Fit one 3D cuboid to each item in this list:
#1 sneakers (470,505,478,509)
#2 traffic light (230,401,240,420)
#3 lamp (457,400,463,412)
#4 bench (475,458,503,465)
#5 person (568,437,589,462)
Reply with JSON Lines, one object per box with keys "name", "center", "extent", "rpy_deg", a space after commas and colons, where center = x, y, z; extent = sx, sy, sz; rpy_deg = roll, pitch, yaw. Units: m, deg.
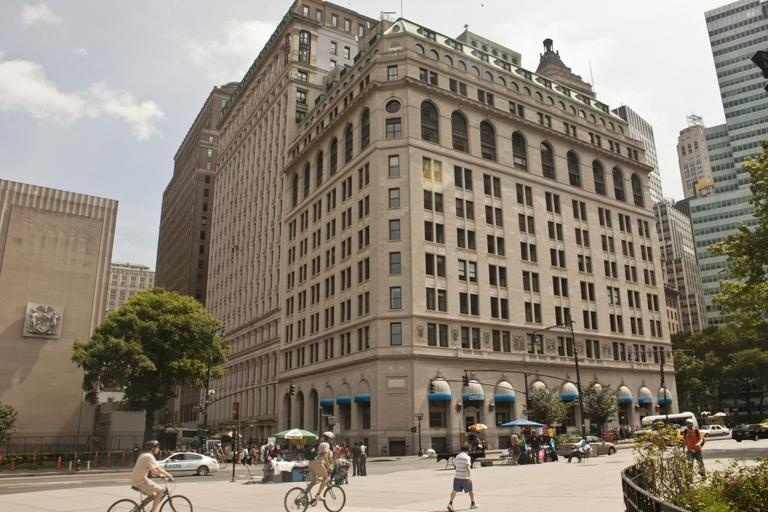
{"name": "sneakers", "center": [5.553, 15.659, 40.586], "extent": [0.436, 0.281, 0.178], "rpy_deg": [-1, -6, -34]}
{"name": "traffic light", "center": [-14.172, 14.566, 61.446], "extent": [0.376, 1.511, 0.910], "rpy_deg": [6, -23, -21]}
{"name": "lamp", "center": [8.961, 17.901, 77.693], "extent": [1.200, 1.135, 0.372], "rpy_deg": [16, -28, -40]}
{"name": "bench", "center": [10.047, 19.840, 62.912], "extent": [2.042, 0.450, 1.348], "rpy_deg": [9, -14, -35]}
{"name": "person", "center": [18.624, 18.587, 62.267], "extent": [3.330, 1.068, 1.204], "rpy_deg": [-7, -26, -46]}
